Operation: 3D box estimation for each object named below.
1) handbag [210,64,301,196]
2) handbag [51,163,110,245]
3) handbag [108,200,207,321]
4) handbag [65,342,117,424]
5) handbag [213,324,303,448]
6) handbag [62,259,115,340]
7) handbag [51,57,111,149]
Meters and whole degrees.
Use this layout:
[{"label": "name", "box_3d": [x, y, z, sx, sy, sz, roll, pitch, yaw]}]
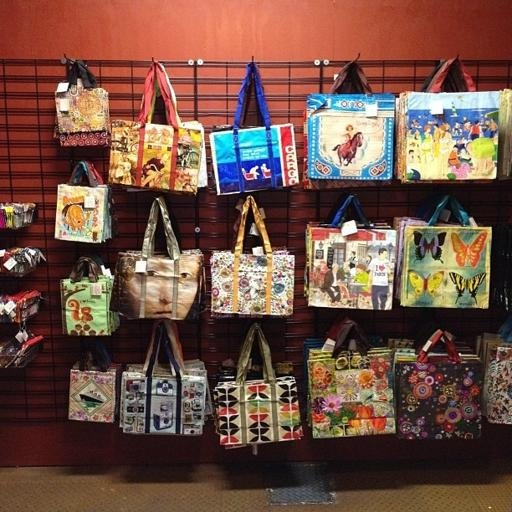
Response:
[{"label": "handbag", "box_3d": [-0.021, -0.695, 3.300, 0.463, 0.681, 0.203, -2, 13, -6]}, {"label": "handbag", "box_3d": [-0.967, -0.286, 3.390, 0.302, 0.485, 0.255, -2, 13, -5]}, {"label": "handbag", "box_3d": [-0.538, 0.017, 3.324, 0.645, 0.896, 0.310, 1, 3, -3]}, {"label": "handbag", "box_3d": [-0.953, 0.686, 3.535, 0.298, 0.460, 0.266, -1, 13, -1]}, {"label": "handbag", "box_3d": [-0.002, 0.695, 3.338, 0.460, 0.625, 0.211, -2, 13, -6]}, {"label": "handbag", "box_3d": [-0.932, 0.255, 3.380, 0.308, 0.483, 0.288, -4, 13, -14]}, {"label": "handbag", "box_3d": [-0.978, -0.854, 3.377, 0.305, 0.470, 0.183, -5, 13, -18]}]
